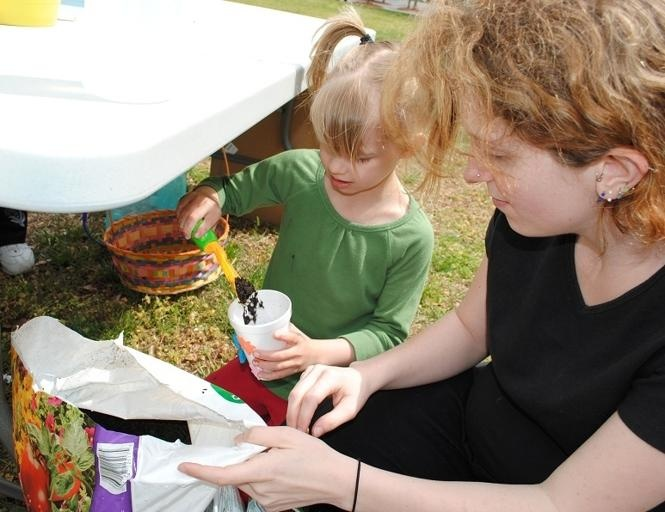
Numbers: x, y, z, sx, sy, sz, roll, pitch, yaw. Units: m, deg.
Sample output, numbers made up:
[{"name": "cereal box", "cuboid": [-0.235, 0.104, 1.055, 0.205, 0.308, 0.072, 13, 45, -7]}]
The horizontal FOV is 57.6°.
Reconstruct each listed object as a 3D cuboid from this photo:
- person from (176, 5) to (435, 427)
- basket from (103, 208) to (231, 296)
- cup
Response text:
[{"name": "person", "cuboid": [-0.090, -0.034, 1.833, 0.764, 1.202, 0.736, 23, 35, 14]}, {"name": "basket", "cuboid": [-0.694, -0.031, 2.628, 0.441, 0.192, 0.510, 11, 25, 13]}, {"name": "cup", "cuboid": [-0.160, 0.191, 1.699, 0.187, 0.236, 0.199, -6, 25, 3]}]
